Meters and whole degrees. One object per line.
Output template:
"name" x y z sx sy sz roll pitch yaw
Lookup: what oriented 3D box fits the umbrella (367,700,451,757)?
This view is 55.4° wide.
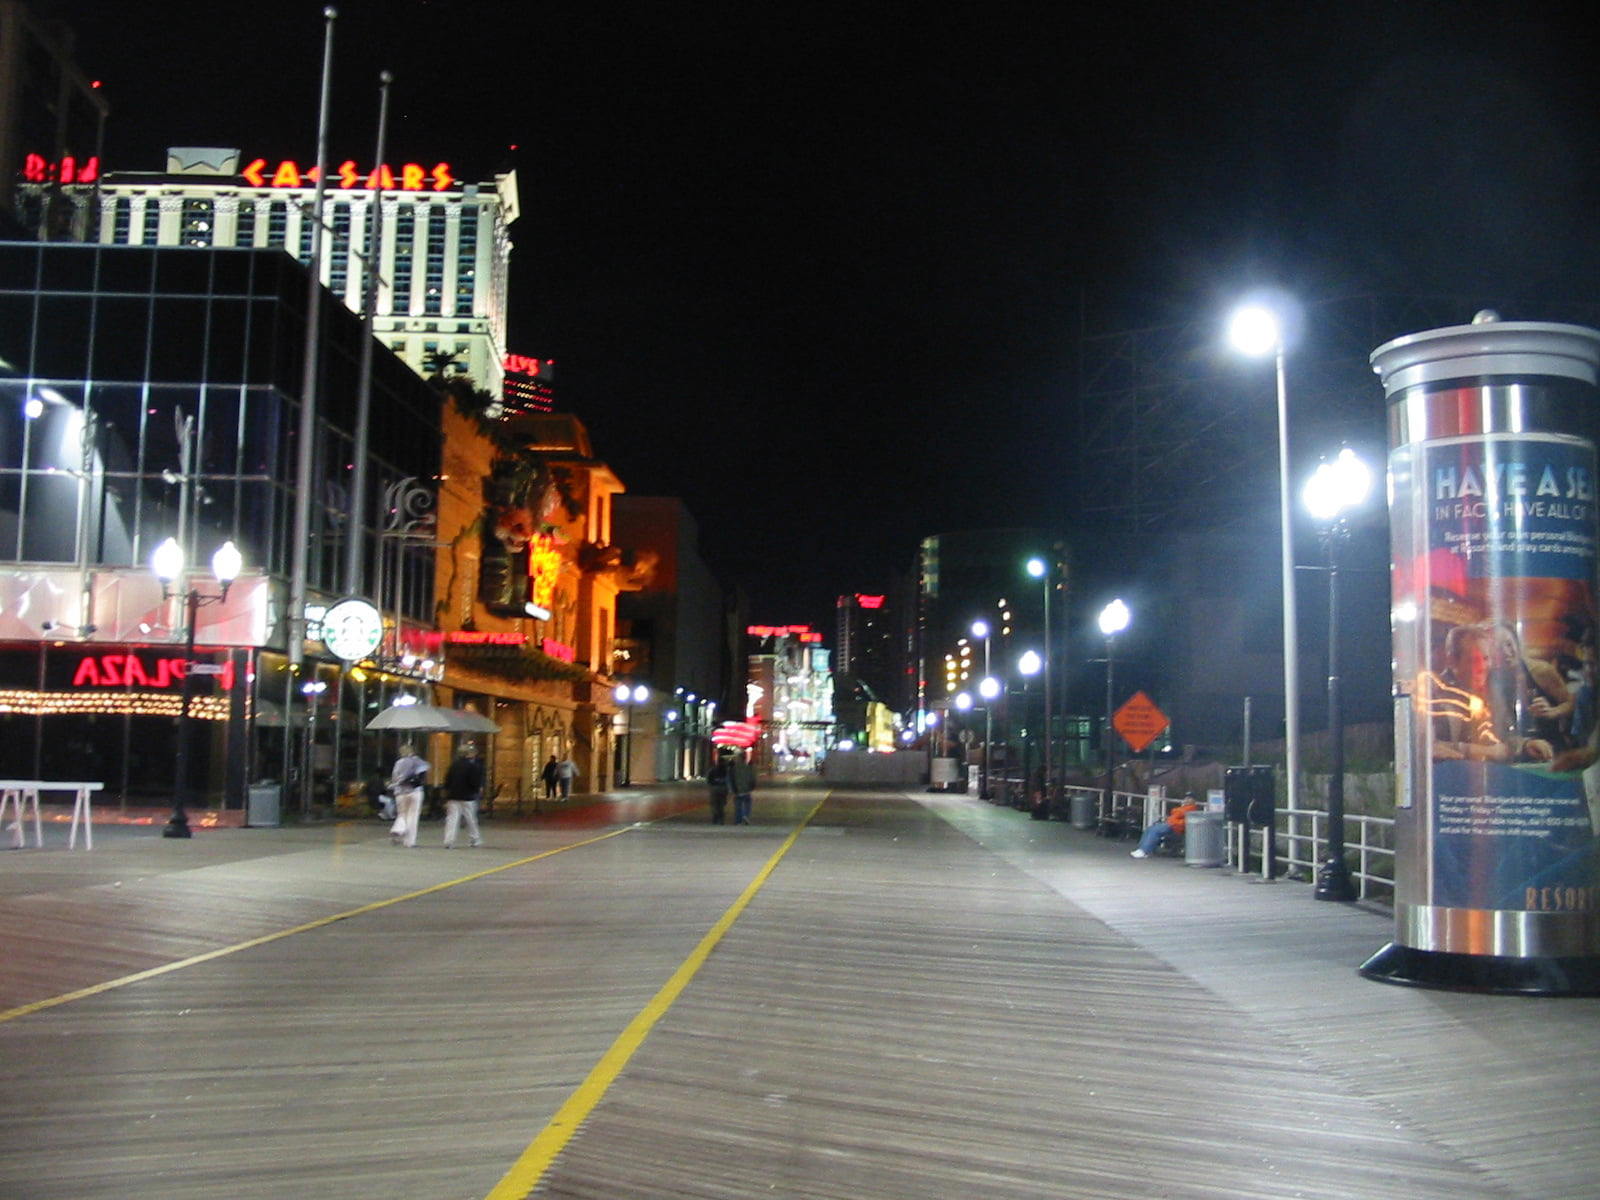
"umbrella" -11.024 3.557 42.246 1.897 1.896 2.067 -2 -9 5

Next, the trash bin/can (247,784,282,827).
"trash bin/can" -13.040 4.965 36.879 0.838 1.474 0.889 -1 -5 -3

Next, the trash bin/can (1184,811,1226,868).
"trash bin/can" 7.814 4.659 29.370 0.788 1.068 1.000 1 -8 -12
